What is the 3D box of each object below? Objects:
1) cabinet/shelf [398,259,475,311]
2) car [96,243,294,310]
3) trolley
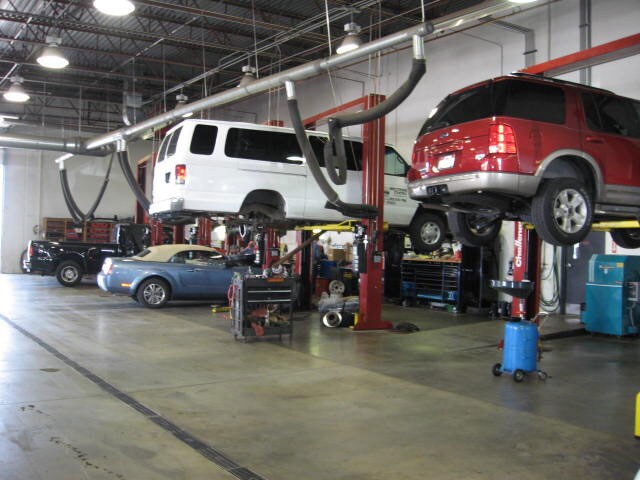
[{"bbox_3d":[3.184,1.192,14.326,0.584,0.860,1.611,4,-4,-34],"label":"cabinet/shelf"},{"bbox_3d":[-3.258,0.809,13.576,4.300,1.049,1.755,-2,1,-23],"label":"car"},{"bbox_3d":[-1.037,1.166,9.572,1.359,0.967,1.185,0,-2,11],"label":"trolley"}]
